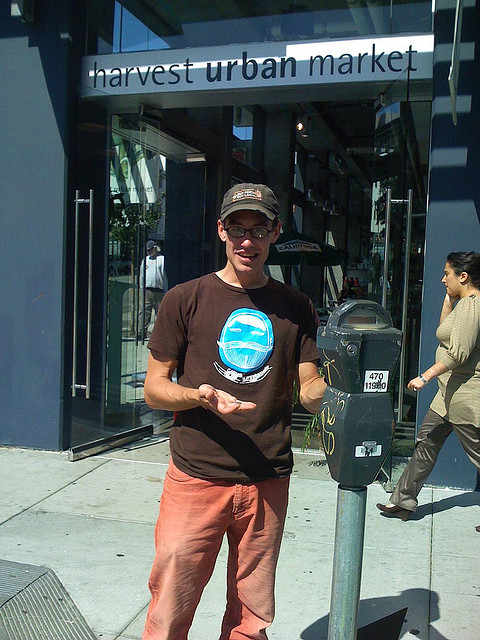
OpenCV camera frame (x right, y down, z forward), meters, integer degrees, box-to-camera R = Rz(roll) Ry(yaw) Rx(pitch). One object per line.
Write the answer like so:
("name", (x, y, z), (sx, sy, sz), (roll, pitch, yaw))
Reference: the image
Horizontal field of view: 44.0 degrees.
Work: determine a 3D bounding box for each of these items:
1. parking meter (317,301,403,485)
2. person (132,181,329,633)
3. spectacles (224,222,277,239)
("parking meter", (0.271, 0.173, 1.379), (0.176, 0.437, 0.183), (2, 2, -6))
("person", (0.005, 0.240, 1.545), (0.498, 1.218, 0.336), (2, 2, -12))
("spectacles", (0.031, -0.237, 1.581), (0.137, 0.045, 0.065), (2, 2, -10))
